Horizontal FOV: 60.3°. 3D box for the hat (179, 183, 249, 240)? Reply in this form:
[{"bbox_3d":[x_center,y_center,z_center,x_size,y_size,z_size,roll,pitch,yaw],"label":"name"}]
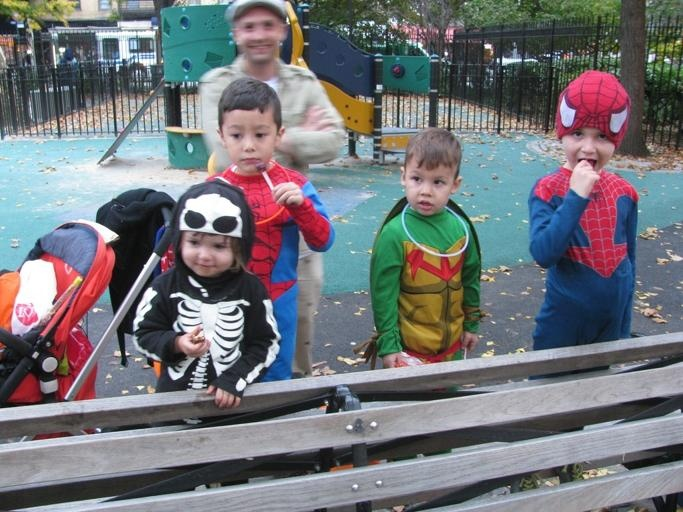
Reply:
[{"bbox_3d":[-0.504,-0.147,2.312,0.266,0.169,0.231,7,18,-18],"label":"hat"}]

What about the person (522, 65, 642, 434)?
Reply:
[{"bbox_3d":[1.181,-0.189,2.899,0.506,1.435,0.598,3,14,23],"label":"person"}]

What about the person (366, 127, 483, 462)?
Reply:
[{"bbox_3d":[0.408,-0.042,2.955,0.622,1.171,0.275,-8,14,-26],"label":"person"}]

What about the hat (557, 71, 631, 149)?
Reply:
[{"bbox_3d":[1.262,-0.752,2.982,0.387,0.335,0.415,19,30,30],"label":"hat"}]

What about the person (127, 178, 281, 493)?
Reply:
[{"bbox_3d":[-0.526,0.150,2.293,0.422,0.847,0.405,7,15,35],"label":"person"}]

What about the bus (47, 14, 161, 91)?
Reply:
[{"bbox_3d":[-14.688,-12.226,36.901,6.888,3.528,3.335,-2,19,-5],"label":"bus"}]
